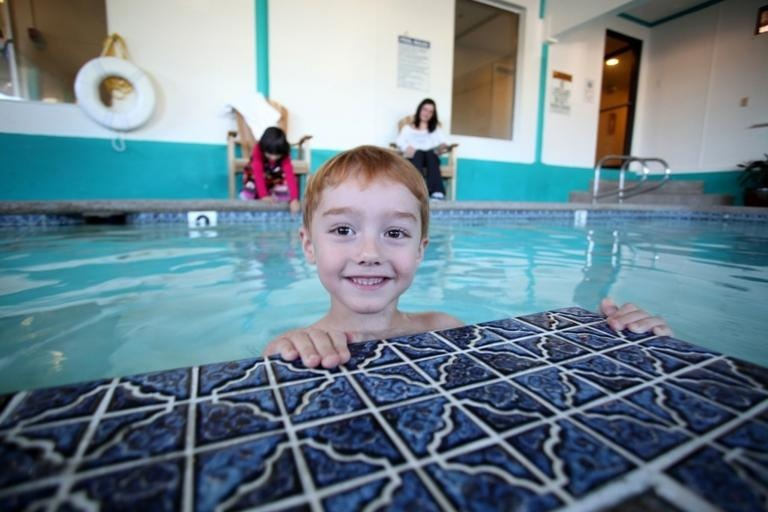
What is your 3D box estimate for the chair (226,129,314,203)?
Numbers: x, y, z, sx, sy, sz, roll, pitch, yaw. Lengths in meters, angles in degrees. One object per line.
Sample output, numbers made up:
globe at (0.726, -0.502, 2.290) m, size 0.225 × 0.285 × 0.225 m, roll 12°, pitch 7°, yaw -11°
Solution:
chair at (-1.315, -1.098, 4.915) m, size 0.904 × 1.211 × 0.844 m, roll -3°, pitch 4°, yaw -24°
